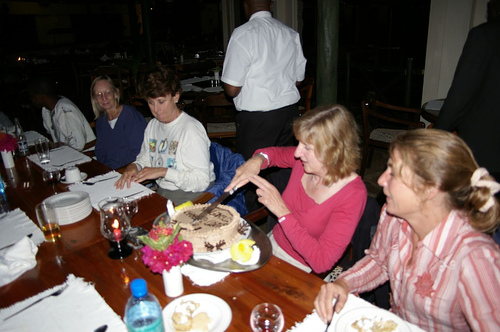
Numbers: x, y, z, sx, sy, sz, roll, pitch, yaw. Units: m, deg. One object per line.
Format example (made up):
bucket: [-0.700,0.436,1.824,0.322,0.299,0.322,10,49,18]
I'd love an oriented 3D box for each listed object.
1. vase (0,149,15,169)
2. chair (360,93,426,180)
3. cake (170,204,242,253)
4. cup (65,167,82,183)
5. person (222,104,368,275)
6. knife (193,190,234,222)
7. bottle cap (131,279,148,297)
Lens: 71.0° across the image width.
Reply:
vase: [-2.554,-0.087,3.657,0.097,0.210,0.126,-22,33,-33]
chair: [2.169,-0.367,5.447,0.872,1.378,0.995,5,9,23]
cake: [-0.350,0.441,2.508,0.480,0.176,0.511,3,20,8]
cup: [-1.662,0.087,3.265,0.119,0.133,0.124,2,23,-1]
person: [0.337,0.194,2.778,0.770,1.467,0.741,-6,46,-8]
knife: [-0.286,0.310,2.704,0.258,0.030,0.029,-48,17,-9]
bottle cap: [-0.555,0.603,1.733,0.074,0.064,0.077,2,12,-7]
